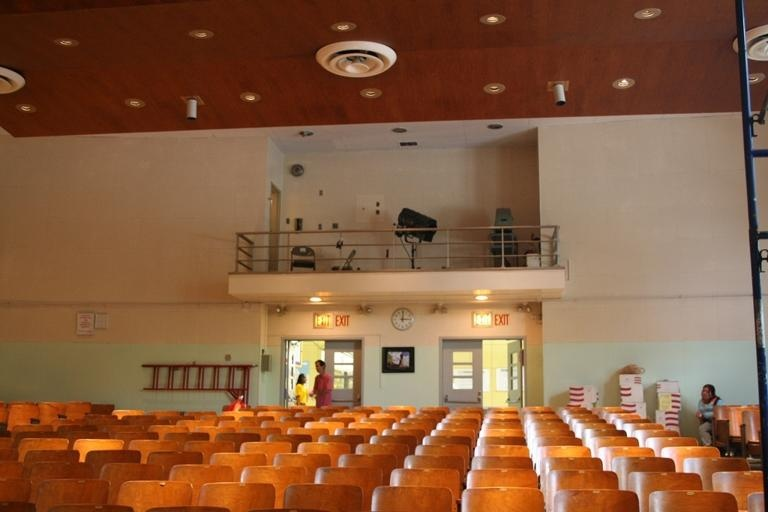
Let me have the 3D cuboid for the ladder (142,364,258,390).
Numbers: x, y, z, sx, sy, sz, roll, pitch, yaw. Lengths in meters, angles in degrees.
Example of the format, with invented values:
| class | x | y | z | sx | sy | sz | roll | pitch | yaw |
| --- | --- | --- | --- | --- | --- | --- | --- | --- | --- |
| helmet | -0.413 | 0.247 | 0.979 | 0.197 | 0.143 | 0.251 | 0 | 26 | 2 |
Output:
| class | x | y | z | sx | sy | sz | roll | pitch | yaw |
| --- | --- | --- | --- | --- | --- | --- | --- | --- | --- |
| ladder | -4.128 | 2.753 | 17.984 | 2.416 | 0.671 | 0.125 | -3 | -11 | 6 |

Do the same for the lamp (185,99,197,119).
| class | x | y | z | sx | sy | sz | roll | pitch | yaw |
| --- | --- | --- | --- | --- | --- | --- | --- | --- | --- |
| lamp | -2.234 | -1.716 | 9.327 | 0.149 | 0.233 | 0.145 | -5 | -14 | 12 |

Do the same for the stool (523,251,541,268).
| class | x | y | z | sx | sy | sz | roll | pitch | yaw |
| --- | --- | --- | --- | --- | --- | --- | --- | --- | --- |
| stool | 3.120 | 0.083 | 17.027 | 0.347 | 0.343 | 0.183 | 2 | -18 | -20 |

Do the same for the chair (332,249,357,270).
| class | x | y | z | sx | sy | sz | roll | pitch | yaw |
| --- | --- | --- | --- | --- | --- | --- | --- | --- | --- |
| chair | -0.906 | 0.127 | 18.368 | 0.492 | 0.535 | 0.575 | 5 | -10 | -6 |

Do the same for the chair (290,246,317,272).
| class | x | y | z | sx | sy | sz | roll | pitch | yaw |
| --- | --- | --- | --- | --- | --- | --- | --- | --- | --- |
| chair | -1.782 | 0.046 | 17.527 | 0.491 | 0.641 | 0.606 | 0 | -11 | -7 |

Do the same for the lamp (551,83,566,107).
| class | x | y | z | sx | sy | sz | roll | pitch | yaw |
| --- | --- | --- | --- | --- | --- | --- | --- | --- | --- |
| lamp | 1.929 | -1.788 | 8.925 | 0.192 | 0.176 | 0.187 | -1 | -33 | 3 |

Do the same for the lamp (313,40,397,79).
| class | x | y | z | sx | sy | sz | roll | pitch | yaw |
| --- | --- | --- | --- | --- | --- | --- | --- | --- | --- |
| lamp | -0.285 | -2.090 | 8.614 | 0.803 | 0.242 | 0.650 | -9 | -14 | 34 |

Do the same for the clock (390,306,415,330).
| class | x | y | z | sx | sy | sz | roll | pitch | yaw |
| --- | --- | --- | --- | --- | --- | --- | --- | --- | --- |
| clock | 0.436 | 1.464 | 18.385 | 0.559 | 0.531 | 0.055 | -1 | -1 | 2 |

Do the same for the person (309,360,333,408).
| class | x | y | z | sx | sy | sz | roll | pitch | yaw |
| --- | --- | --- | --- | --- | --- | --- | --- | --- | --- |
| person | -1.318 | 2.685 | 16.879 | 0.400 | 1.001 | 0.716 | 0 | -11 | -8 |
